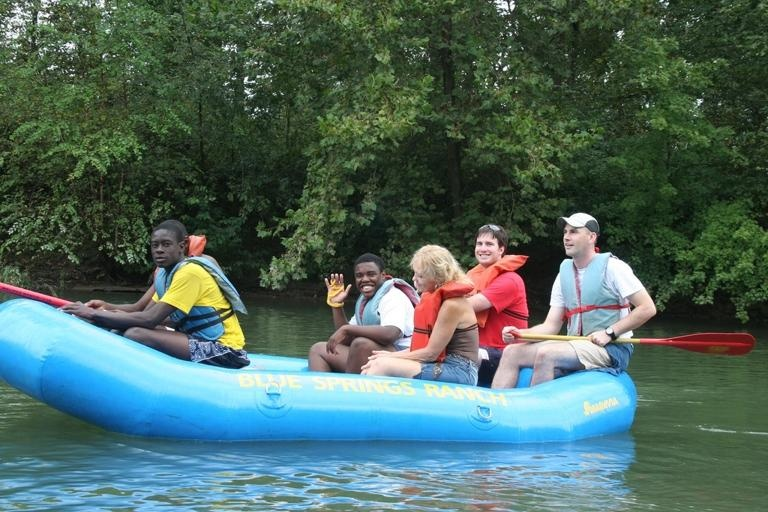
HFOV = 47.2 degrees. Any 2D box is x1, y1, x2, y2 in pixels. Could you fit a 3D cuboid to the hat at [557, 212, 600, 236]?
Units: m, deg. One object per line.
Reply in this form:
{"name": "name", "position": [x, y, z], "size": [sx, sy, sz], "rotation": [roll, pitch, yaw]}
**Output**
{"name": "hat", "position": [2.409, -0.414, 10.735], "size": [0.462, 0.197, 0.304], "rotation": [18, -3, -6]}
